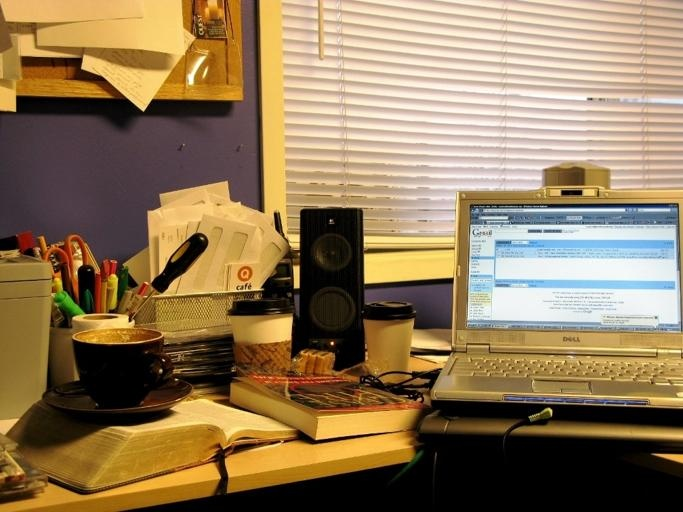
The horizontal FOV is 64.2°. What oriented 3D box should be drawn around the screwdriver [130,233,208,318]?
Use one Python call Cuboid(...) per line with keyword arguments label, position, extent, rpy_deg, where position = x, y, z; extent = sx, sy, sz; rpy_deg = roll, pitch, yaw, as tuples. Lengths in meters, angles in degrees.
Cuboid(label="screwdriver", position=(-0.322, 0.034, 1.023), extent=(0.136, 0.158, 0.150), rpy_deg=(-1, 8, -15))
